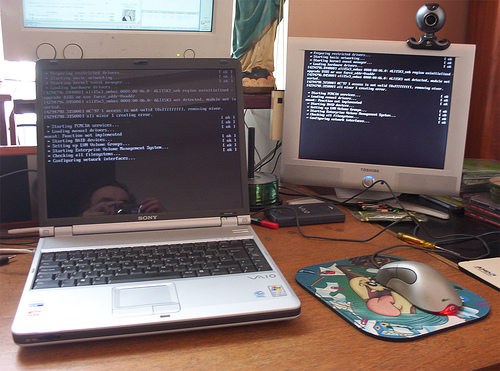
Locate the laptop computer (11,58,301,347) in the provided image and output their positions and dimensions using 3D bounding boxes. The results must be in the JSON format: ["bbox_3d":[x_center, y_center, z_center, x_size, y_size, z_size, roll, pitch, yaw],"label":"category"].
[{"bbox_3d":[-0.189,0.001,0.770,0.485,0.310,0.470,-3,34,-14],"label":"laptop computer"}]

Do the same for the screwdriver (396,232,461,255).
[{"bbox_3d":[0.421,0.145,0.955,0.178,0.025,0.027,15,10,-5],"label":"screwdriver"}]

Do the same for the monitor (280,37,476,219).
[{"bbox_3d":[0.368,-0.169,1.157,0.606,0.452,0.211,3,9,4],"label":"monitor"}]

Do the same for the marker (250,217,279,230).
[{"bbox_3d":[0.037,0.096,1.019,0.082,0.014,0.014,14,28,22],"label":"marker"}]

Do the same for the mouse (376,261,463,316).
[{"bbox_3d":[0.325,0.176,0.773,0.100,0.059,0.167,-8,17,-16],"label":"mouse"}]
